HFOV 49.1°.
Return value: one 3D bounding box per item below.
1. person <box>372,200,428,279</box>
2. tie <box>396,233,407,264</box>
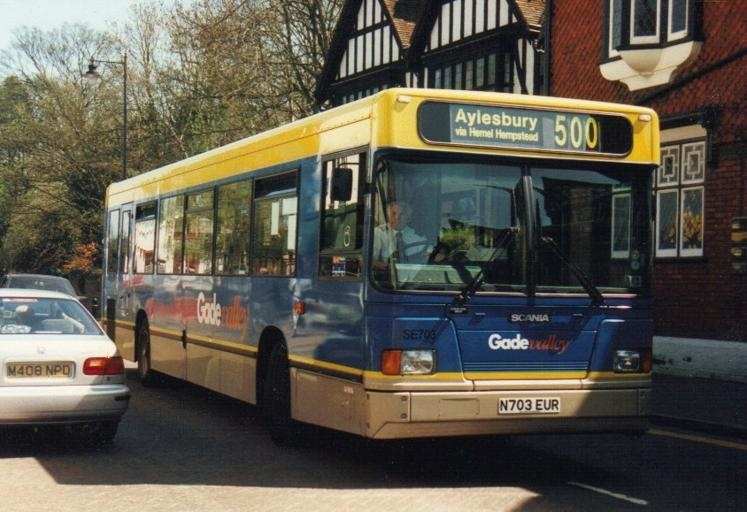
[{"bbox_3d":[0.269,-0.163,8.534,0.691,0.970,0.493,-1,-4,11],"label":"person"},{"bbox_3d":[0.293,-0.084,8.532,0.116,0.317,0.021,0,1,-15],"label":"tie"}]
